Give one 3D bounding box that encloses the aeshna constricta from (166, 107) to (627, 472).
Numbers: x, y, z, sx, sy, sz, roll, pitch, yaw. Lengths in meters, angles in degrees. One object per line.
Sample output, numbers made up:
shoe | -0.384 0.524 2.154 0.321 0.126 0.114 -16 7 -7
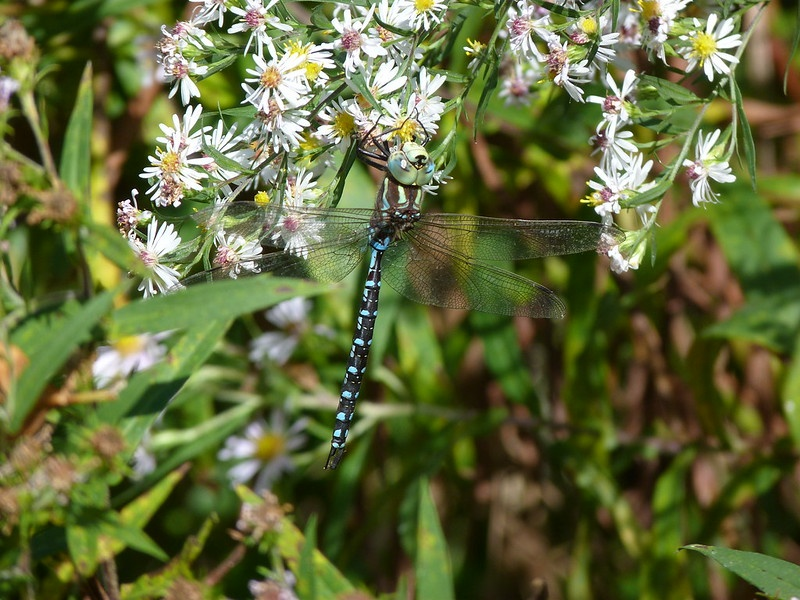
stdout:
aeshna constricta | 0.011 -0.007 1.575 0.623 0.573 0.268 13 -12 -12
